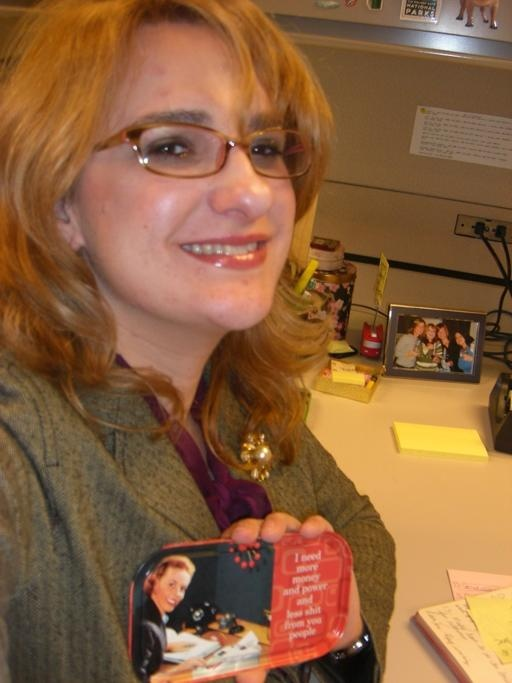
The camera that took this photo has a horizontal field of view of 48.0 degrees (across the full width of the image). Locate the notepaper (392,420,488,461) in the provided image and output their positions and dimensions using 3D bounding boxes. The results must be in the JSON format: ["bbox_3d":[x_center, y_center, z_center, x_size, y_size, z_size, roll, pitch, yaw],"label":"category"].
[{"bbox_3d":[0.394,0.208,1.224,0.188,0.017,0.105,6,29,-1],"label":"notepaper"}]
